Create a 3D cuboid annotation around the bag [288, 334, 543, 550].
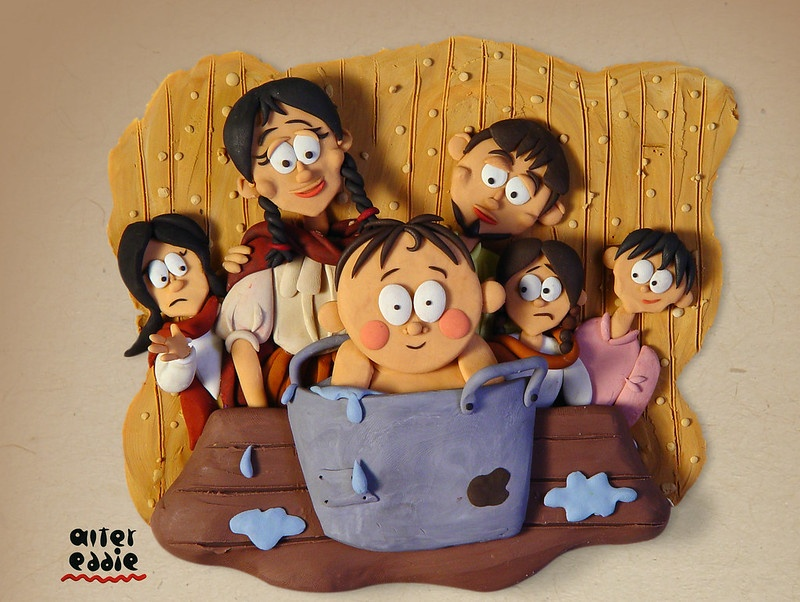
[{"bbox_3d":[0.038,0.373,3.363,0.619,0.471,0.401,-3,2,3],"label":"bag"}]
